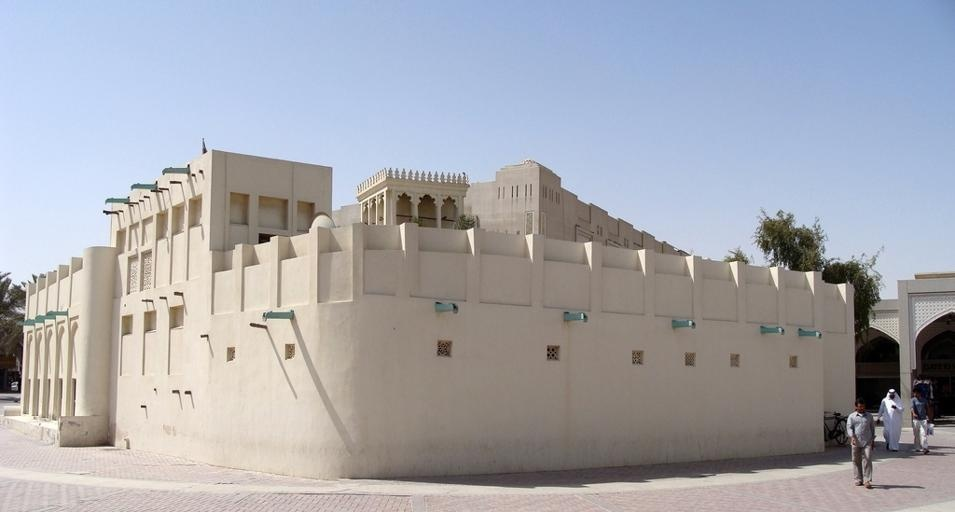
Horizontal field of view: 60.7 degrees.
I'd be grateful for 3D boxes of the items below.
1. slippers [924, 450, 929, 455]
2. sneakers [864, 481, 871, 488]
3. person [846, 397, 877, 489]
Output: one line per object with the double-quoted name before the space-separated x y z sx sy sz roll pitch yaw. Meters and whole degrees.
"slippers" 20.040 8.767 36.451 0.107 0.199 0.308 -2 -32 8
"sneakers" 14.830 8.648 30.895 0.266 0.228 0.163 -2 3 -16
"person" 14.811 7.127 31.515 0.853 3.236 1.512 0 3 26
